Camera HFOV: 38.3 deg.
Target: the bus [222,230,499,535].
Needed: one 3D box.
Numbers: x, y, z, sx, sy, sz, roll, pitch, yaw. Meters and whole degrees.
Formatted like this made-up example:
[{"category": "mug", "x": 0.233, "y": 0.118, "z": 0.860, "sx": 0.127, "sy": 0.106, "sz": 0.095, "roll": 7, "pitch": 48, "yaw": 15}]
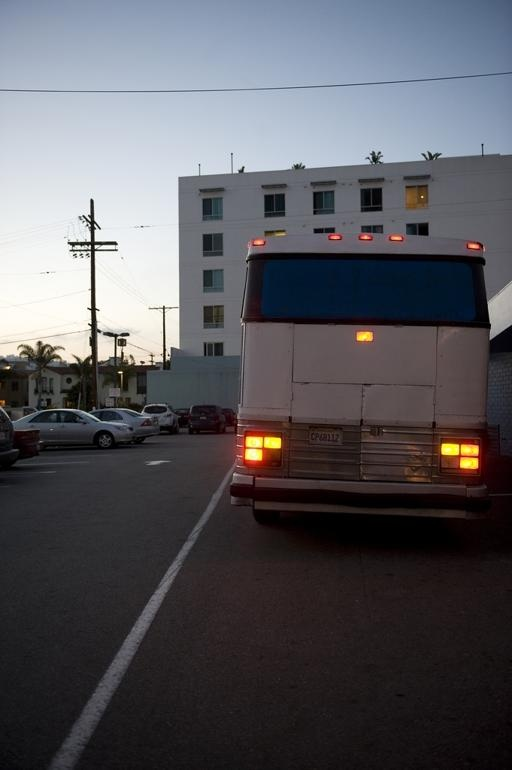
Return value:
[{"category": "bus", "x": 1.373, "y": -0.006, "z": 9.423, "sx": 2.850, "sy": 2.945, "sz": 5.124, "roll": 1, "pitch": 0, "yaw": 12}]
